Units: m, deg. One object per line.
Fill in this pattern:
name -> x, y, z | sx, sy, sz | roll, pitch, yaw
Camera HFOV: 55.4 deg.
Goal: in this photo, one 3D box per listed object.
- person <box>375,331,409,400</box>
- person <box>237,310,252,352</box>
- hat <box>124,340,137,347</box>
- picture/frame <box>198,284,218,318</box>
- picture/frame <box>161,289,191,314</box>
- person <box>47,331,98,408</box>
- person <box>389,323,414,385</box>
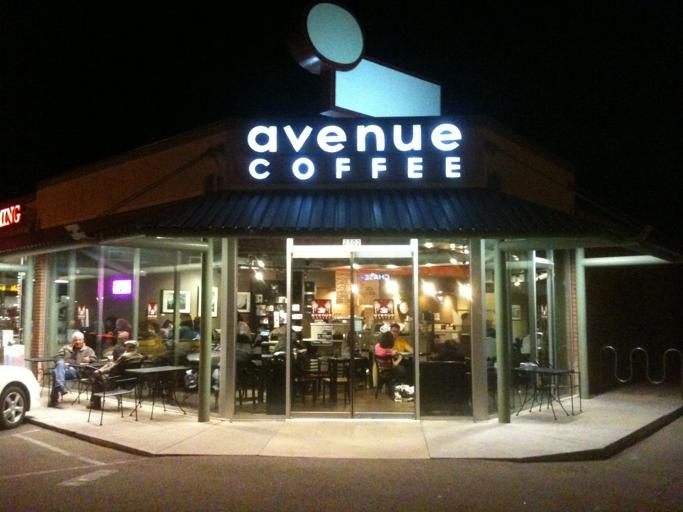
person -> 1.238, 2.654, 15.758 | 0.863, 1.619, 0.661 | -7, 7, -40
person -> -2.259, 1.788, 15.233 | 0.383, 0.884, 0.227 | 0, 4, -9
hat -> -5.134, 2.163, 15.972 | 0.265, 0.151, 0.198 | 0, 2, -18
picture/frame -> -3.166, 1.081, 15.554 | 0.402, 0.774, 1.409 | -1, 5, -23
picture/frame -> -4.199, 1.188, 16.736 | 0.633, 0.546, 0.071 | -2, -11, 13
person -> -7.170, 3.110, 17.525 | 0.835, 1.700, 1.308 | 12, -43, -9
person -> 1.447, 2.305, 15.405 | 0.614, 1.375, 0.215 | 4, 5, 36
